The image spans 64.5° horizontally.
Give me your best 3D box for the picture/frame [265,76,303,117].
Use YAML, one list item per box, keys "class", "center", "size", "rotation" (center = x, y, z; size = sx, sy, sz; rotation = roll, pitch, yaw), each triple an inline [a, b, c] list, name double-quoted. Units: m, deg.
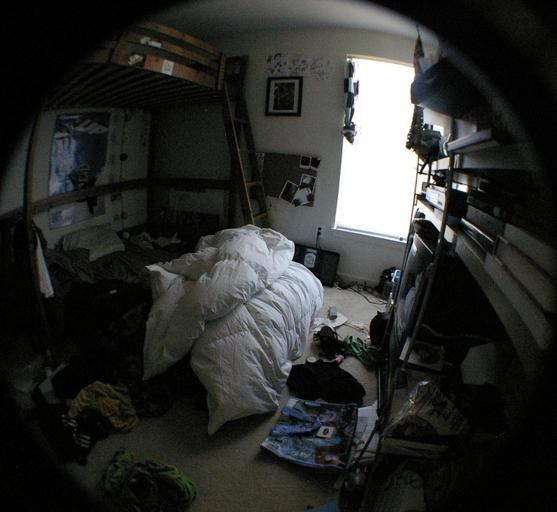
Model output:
- class: "picture/frame"
  center: [0.050, -1.114, 3.062]
  size: [0.244, 0.252, 0.017]
  rotation: [14, 23, 32]
